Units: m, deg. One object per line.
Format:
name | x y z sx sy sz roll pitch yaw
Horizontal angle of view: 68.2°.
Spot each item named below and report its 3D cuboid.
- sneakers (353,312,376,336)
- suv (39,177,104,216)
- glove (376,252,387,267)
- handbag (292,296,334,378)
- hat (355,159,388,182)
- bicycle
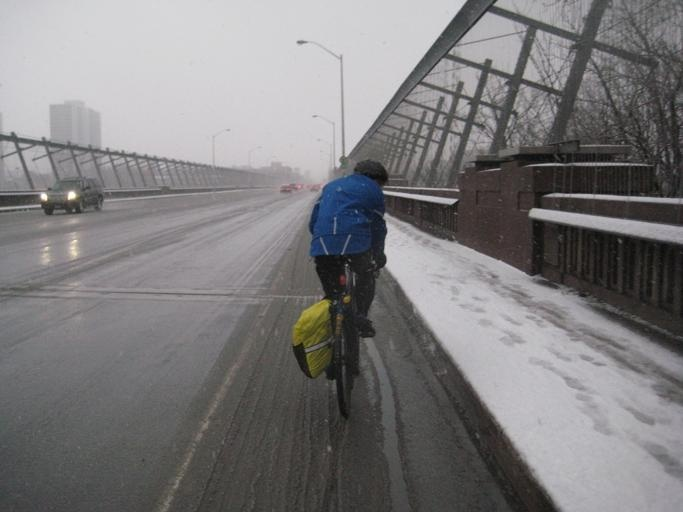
sneakers | 0.258 0.698 5.047 0.295 0.146 0.116 4 6 8
suv | -14.401 -3.176 27.018 1.712 1.698 3.742 0 3 -2
glove | 0.395 0.038 5.256 0.124 0.147 0.035 3 -9 -20
handbag | -0.254 0.696 4.543 0.362 0.733 0.518 -9 18 -4
hat | 0.305 -0.814 4.974 0.264 0.287 0.209 -1 4 -27
bicycle | 0.013 0.680 4.576 0.263 1.352 0.887 -1 13 8
